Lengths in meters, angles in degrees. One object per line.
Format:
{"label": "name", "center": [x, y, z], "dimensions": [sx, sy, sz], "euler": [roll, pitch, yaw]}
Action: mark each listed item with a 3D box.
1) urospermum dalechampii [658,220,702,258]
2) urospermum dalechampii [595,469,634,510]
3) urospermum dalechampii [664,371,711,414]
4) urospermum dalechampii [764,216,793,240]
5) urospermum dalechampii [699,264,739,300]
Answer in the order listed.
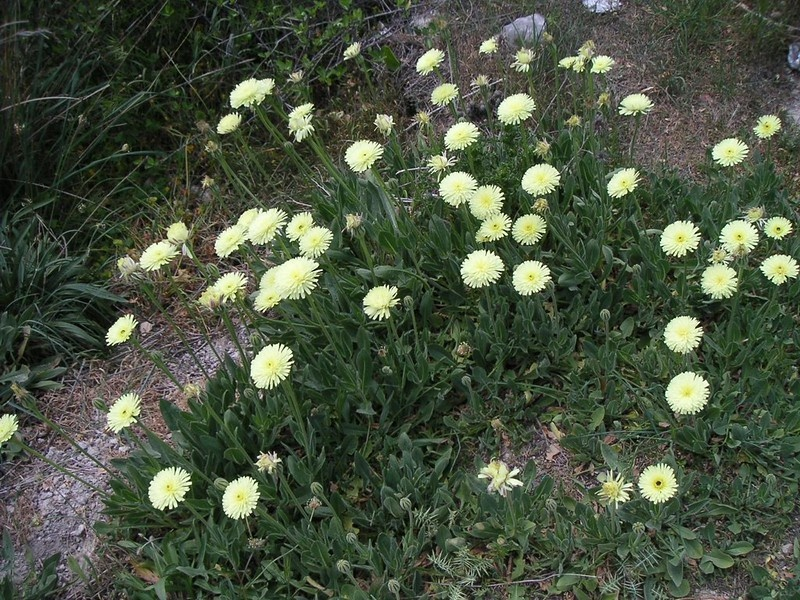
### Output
{"label": "urospermum dalechampii", "center": [1.407, -0.313, 3.079], "dimensions": [0.188, 0.085, 0.173], "euler": [-26, 71, -2]}
{"label": "urospermum dalechampii", "center": [0.962, 0.855, 2.753], "dimensions": [0.138, 0.295, 0.162], "euler": [-4, 69, 5]}
{"label": "urospermum dalechampii", "center": [1.260, 0.410, 2.690], "dimensions": [0.158, 0.084, 0.174], "euler": [-7, 72, 4]}
{"label": "urospermum dalechampii", "center": [1.934, -0.344, 3.152], "dimensions": [0.124, 0.042, 0.150], "euler": [-10, 68, 15]}
{"label": "urospermum dalechampii", "center": [1.511, -0.080, 2.897], "dimensions": [0.152, 0.079, 0.178], "euler": [16, 85, 41]}
